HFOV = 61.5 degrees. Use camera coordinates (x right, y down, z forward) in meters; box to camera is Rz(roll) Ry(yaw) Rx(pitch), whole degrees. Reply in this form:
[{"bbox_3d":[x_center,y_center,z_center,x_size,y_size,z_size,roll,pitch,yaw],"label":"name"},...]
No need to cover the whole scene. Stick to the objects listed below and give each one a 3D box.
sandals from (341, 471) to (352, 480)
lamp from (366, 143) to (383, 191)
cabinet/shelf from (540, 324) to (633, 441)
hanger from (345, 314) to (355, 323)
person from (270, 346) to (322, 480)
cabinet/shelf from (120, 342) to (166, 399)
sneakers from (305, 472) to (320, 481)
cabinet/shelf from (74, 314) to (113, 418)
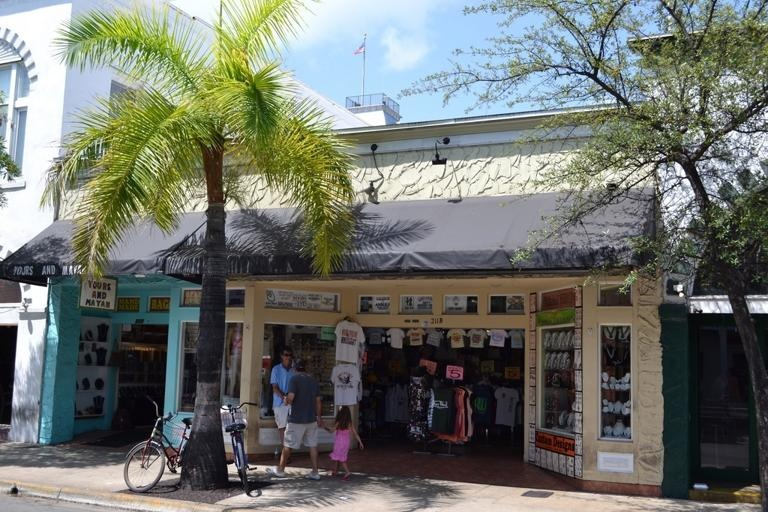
[{"bbox_3d":[-0.793,4.450,13.031,0.094,0.078,0.228,-24,-16,-22],"label":"sandals"},{"bbox_3d":[-0.194,-2.076,14.778,0.319,1.059,0.140,0,-4,6],"label":"lamp"},{"bbox_3d":[4.198,2.611,13.170,0.732,2.389,2.503,2,-3,-30],"label":"cabinet/shelf"},{"bbox_3d":[-0.860,1.514,15.621,0.275,0.176,0.183,1,-4,-4],"label":"hanger"},{"bbox_3d":[-1.691,3.254,12.903,0.860,2.348,0.617,2,-4,-17],"label":"person"},{"bbox_3d":[-7.060,3.306,18.543,0.752,1.409,1.371,-9,-17,37],"label":"cabinet/shelf"},{"bbox_3d":[-1.451,4.395,12.905,0.316,0.142,0.118,-3,2,24],"label":"sneakers"},{"bbox_3d":[-8.011,3.012,17.636,0.262,2.762,0.971,-2,-4,34],"label":"cabinet/shelf"}]
